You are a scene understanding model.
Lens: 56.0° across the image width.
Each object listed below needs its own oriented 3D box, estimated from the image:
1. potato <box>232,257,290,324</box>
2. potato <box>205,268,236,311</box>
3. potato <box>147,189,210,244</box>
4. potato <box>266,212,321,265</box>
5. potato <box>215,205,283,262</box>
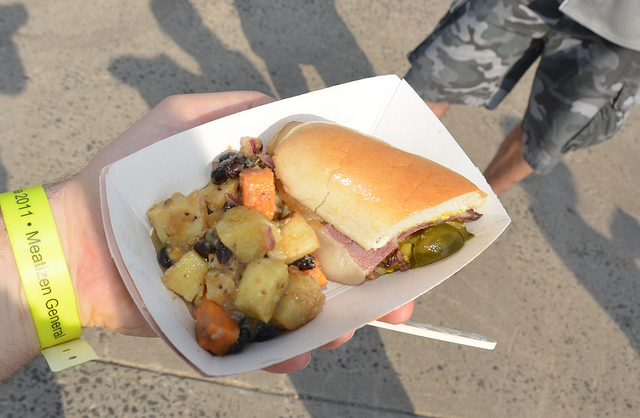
[{"bbox_3d":[-0.488,0.657,5.052,0.382,0.168,0.510,28,77,3],"label":"potato"},{"bbox_3d":[-0.823,0.684,5.128,0.257,0.074,0.313,-35,98,7],"label":"potato"},{"bbox_3d":[-1.162,0.105,5.169,0.515,0.166,0.404,-25,80,-8],"label":"potato"},{"bbox_3d":[-0.227,0.253,5.125,0.398,0.125,0.401,42,79,-15],"label":"potato"},{"bbox_3d":[-0.624,0.187,5.086,0.541,0.172,0.419,42,78,6],"label":"potato"}]
